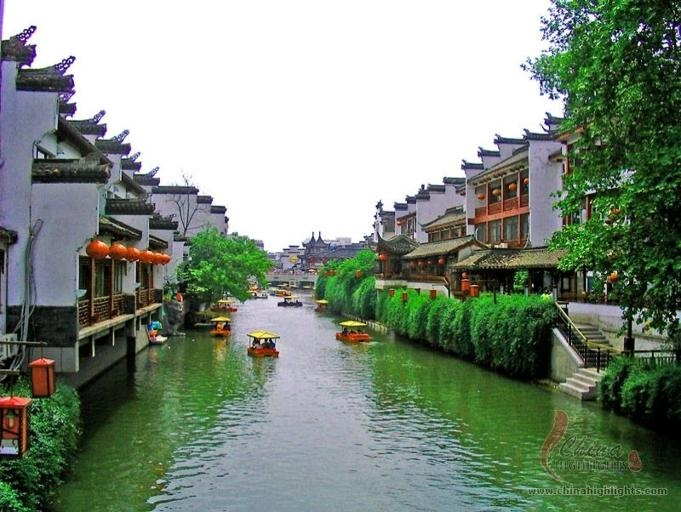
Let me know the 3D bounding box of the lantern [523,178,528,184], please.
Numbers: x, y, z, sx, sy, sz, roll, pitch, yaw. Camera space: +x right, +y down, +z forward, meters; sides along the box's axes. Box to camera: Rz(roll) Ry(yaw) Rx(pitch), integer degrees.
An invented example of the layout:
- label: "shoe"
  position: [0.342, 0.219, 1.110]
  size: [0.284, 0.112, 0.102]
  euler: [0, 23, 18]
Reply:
- label: "lantern"
  position: [12.212, -5.026, 40.920]
  size: [0.308, 0.321, 0.370]
  euler: [-6, -14, 39]

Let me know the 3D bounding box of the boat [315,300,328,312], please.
- label: "boat"
  position: [-2.371, 6.048, 77.194]
  size: [1.457, 1.118, 1.339]
  euler: [6, 8, 24]

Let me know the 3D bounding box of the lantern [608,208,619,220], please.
- label: "lantern"
  position: [9.237, -1.429, 20.893]
  size: [0.345, 0.411, 1.327]
  euler: [2, 4, 24]

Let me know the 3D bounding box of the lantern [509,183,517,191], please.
- label: "lantern"
  position: [12.339, -5.016, 44.386]
  size: [0.446, 0.528, 0.469]
  euler: [-1, 2, 12]

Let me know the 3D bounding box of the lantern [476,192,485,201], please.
- label: "lantern"
  position: [11.183, -4.814, 49.351]
  size: [0.476, 0.504, 0.501]
  euler: [-1, -4, 0]

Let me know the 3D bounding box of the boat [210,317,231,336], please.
- label: "boat"
  position: [-9.403, 5.553, 47.789]
  size: [1.364, 1.821, 1.884]
  euler: [1, 3, -3]

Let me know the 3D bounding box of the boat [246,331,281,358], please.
- label: "boat"
  position: [-4.851, 5.681, 38.657]
  size: [1.473, 1.558, 2.394]
  euler: [2, -1, -13]

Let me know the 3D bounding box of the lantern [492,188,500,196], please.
- label: "lantern"
  position: [11.393, -4.707, 45.442]
  size: [0.481, 0.282, 0.485]
  euler: [2, -3, -30]
